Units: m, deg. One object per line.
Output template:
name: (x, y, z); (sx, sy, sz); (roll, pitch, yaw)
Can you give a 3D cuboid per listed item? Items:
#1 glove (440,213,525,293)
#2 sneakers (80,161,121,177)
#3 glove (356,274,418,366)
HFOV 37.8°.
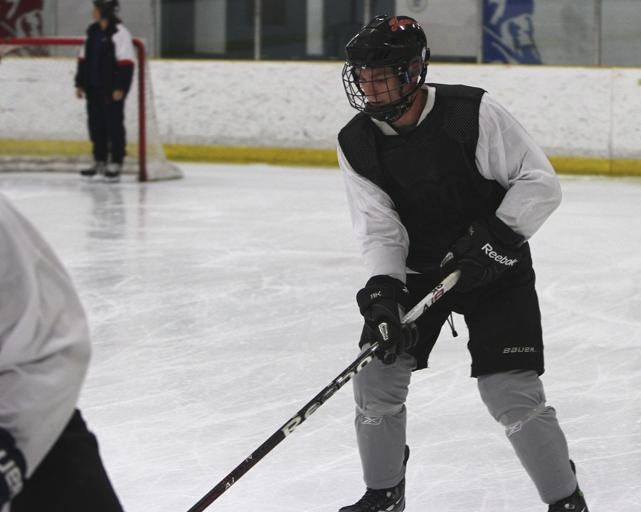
glove: (0.349, -0.005, 2.003); (0.197, 0.134, 0.075); (-39, 7, 8)
sneakers: (-1.678, -0.649, 7.081); (0.398, 0.128, 0.128); (3, 2, 10)
glove: (0.130, 0.135, 2.031); (0.133, 0.188, 0.092); (-34, -45, 22)
